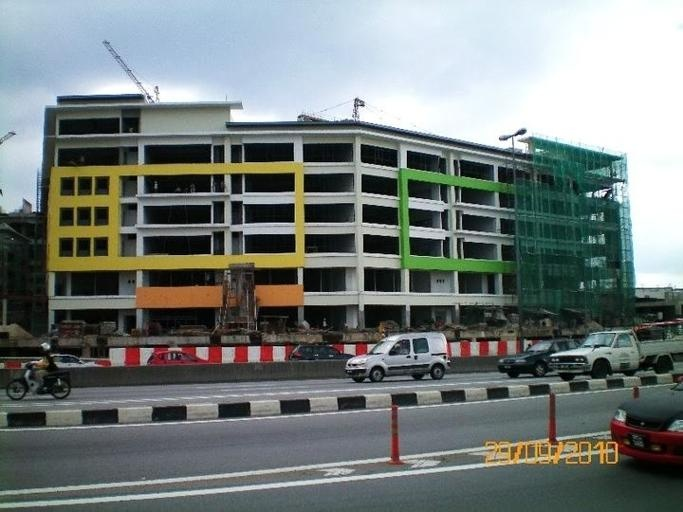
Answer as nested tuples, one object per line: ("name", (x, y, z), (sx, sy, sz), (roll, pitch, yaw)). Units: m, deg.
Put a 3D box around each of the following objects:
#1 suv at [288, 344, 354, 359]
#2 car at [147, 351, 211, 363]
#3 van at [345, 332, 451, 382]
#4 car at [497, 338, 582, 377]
("suv", (-1.203, 5.047, 38.524), (2.564, 0.903, 1.167), (-1, -5, -15))
("car", (-8.707, 5.346, 38.651), (2.284, 0.826, 1.279), (-1, -4, -7))
("van", (2.357, 4.506, 32.770), (3.851, 1.752, 2.162), (5, -11, -20))
("car", (8.990, 4.566, 33.322), (3.696, 1.175, 1.637), (3, -11, -33))
